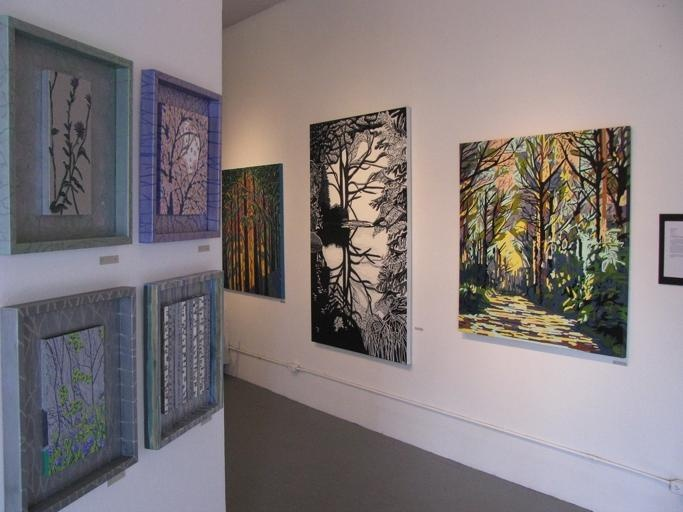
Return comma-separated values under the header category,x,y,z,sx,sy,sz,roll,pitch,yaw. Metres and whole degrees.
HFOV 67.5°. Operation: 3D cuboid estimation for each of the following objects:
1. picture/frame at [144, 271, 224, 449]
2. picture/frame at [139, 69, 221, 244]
category,x,y,z,sx,sy,sz,roll,pitch,yaw
picture/frame,-0.684,0.427,2.209,0.113,0.673,0.404,6,11,34
picture/frame,-0.686,-0.421,2.184,0.095,0.695,0.408,7,11,38
